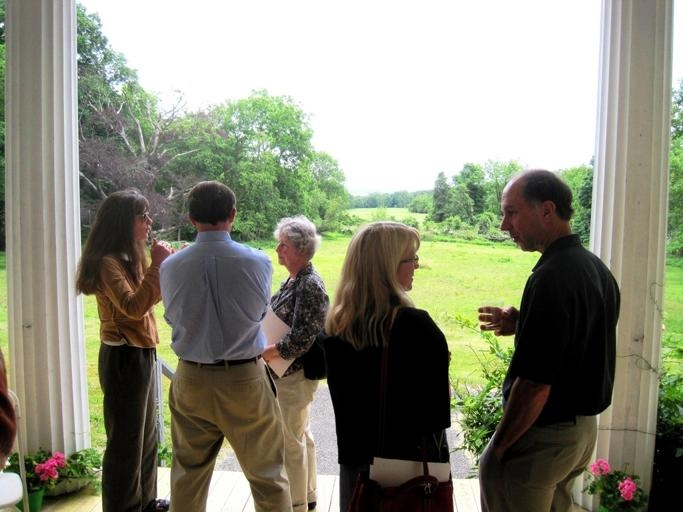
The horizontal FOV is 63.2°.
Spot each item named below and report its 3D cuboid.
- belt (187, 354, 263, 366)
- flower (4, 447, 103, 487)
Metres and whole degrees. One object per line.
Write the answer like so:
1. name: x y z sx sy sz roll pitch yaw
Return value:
1. belt: -0.617 0.544 2.857 0.390 0.046 0.072 1 -1 -6
2. flower: -1.864 1.413 3.680 0.340 0.180 0.306 4 6 -2
